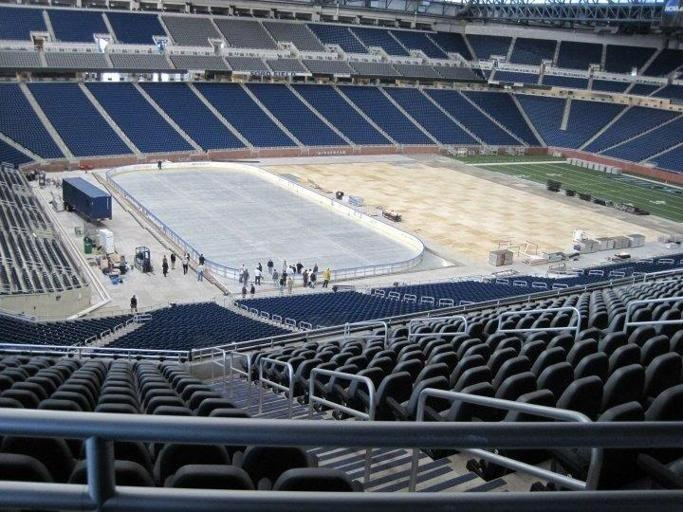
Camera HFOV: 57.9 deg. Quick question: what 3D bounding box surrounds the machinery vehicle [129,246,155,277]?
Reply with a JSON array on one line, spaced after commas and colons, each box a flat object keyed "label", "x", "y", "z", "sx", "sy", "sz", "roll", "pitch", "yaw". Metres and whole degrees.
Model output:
[{"label": "machinery vehicle", "x": -9.668, "y": 0.308, "z": 29.852, "sx": 0.965, "sy": 0.805, "sz": 1.812, "roll": -7, "pitch": 14, "yaw": -37}]

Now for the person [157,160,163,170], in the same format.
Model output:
[{"label": "person", "x": -14.906, "y": -7.506, "z": 50.632, "sx": 0.419, "sy": 0.704, "sz": 1.096, "roll": 3, "pitch": 16, "yaw": -10}]
